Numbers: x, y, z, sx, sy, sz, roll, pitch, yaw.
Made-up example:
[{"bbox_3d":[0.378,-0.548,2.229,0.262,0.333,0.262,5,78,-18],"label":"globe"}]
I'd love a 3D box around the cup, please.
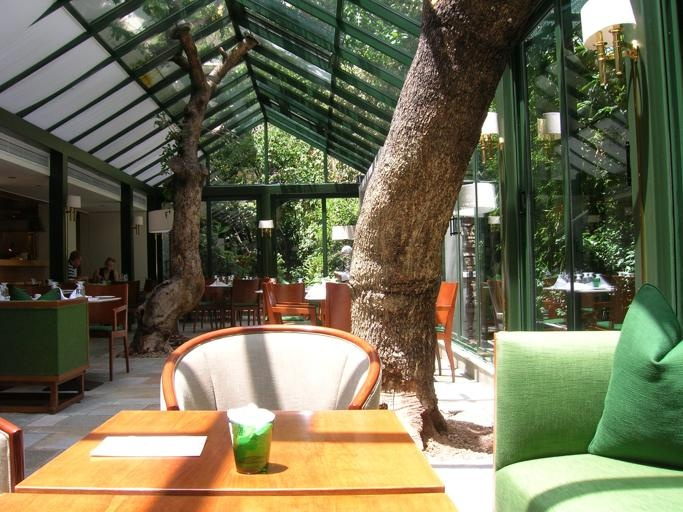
[{"bbox_3d":[-0.242,0.482,1.453,0.131,0.162,0.138,1,-8,0],"label":"cup"}]

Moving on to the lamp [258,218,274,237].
[{"bbox_3d":[-1.604,-0.612,11.905,0.338,0.365,0.339,-3,-5,38],"label":"lamp"}]

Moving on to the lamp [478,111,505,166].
[{"bbox_3d":[1.399,-1.106,5.163,0.177,0.386,0.883,-1,3,14],"label":"lamp"}]

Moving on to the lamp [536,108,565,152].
[{"bbox_3d":[1.546,-0.943,4.100,0.130,0.148,0.190,1,-7,-3],"label":"lamp"}]
